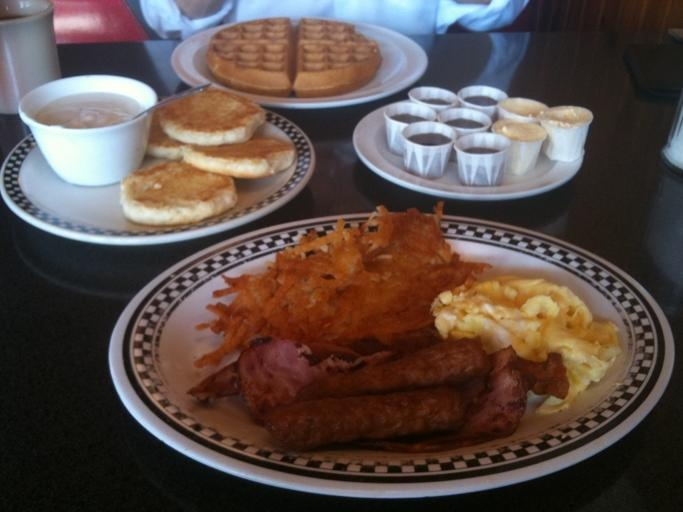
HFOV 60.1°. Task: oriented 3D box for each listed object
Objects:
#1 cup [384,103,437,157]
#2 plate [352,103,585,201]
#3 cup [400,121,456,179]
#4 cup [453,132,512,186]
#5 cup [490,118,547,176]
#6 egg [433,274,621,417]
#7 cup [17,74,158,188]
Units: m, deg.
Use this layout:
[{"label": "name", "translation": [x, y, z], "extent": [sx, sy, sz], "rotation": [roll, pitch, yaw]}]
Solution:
[{"label": "cup", "translation": [0.200, -0.418, 1.796], "extent": [0.162, 0.126, 0.170], "rotation": [3, 46, -3]}, {"label": "plate", "translation": [0.318, -0.269, 1.681], "extent": [0.665, 0.058, 0.374], "rotation": [17, 47, 18]}, {"label": "cup", "translation": [0.251, -0.302, 1.724], "extent": [0.163, 0.118, 0.166], "rotation": [0, 40, 0]}, {"label": "cup", "translation": [0.385, -0.269, 1.621], "extent": [0.156, 0.110, 0.154], "rotation": [-3, 39, 2]}, {"label": "cup", "translation": [0.485, -0.315, 1.715], "extent": [0.155, 0.124, 0.148], "rotation": [0, 38, 0]}, {"label": "egg", "translation": [0.424, 0.163, 1.138], "extent": [0.191, 0.064, 0.216], "rotation": [25, 52, 35]}, {"label": "cup", "translation": [-0.665, -0.353, 1.590], "extent": [0.355, 0.191, 0.349], "rotation": [7, 39, -6]}]
